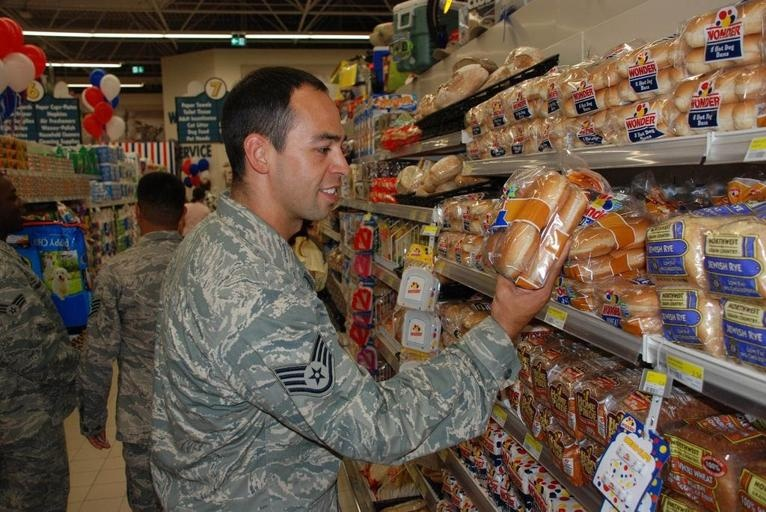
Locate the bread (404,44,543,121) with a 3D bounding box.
[{"bbox_3d":[0.482,-0.906,2.382,0.491,0.178,0.313,-28,11,15],"label":"bread"}]

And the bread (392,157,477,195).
[{"bbox_3d":[0.283,-0.452,2.702,0.308,0.092,0.263,-11,16,26],"label":"bread"}]
